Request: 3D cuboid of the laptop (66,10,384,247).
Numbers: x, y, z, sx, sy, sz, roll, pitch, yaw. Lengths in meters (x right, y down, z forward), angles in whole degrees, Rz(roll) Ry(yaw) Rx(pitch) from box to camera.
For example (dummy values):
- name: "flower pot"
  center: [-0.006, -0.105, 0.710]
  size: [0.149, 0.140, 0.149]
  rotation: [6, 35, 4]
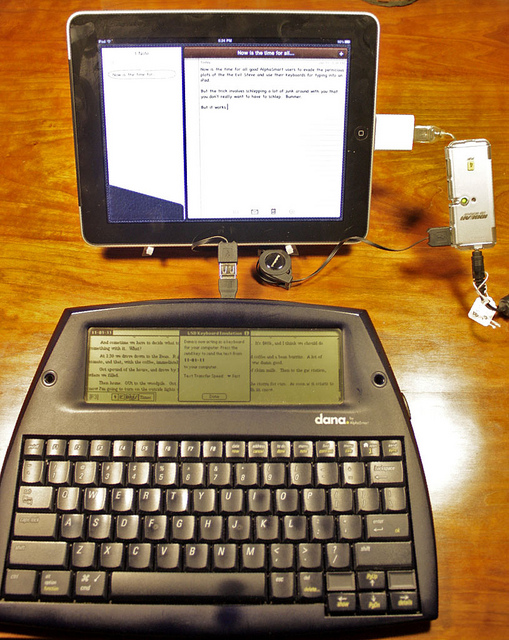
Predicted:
- name: "laptop"
  center: [-0.047, -0.268, 0.814]
  size: [0.354, 0.264, 0.029]
  rotation: [0, 17, -2]

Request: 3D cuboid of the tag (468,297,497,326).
- name: "tag"
  center: [0.334, -0.012, 0.873]
  size: [0.032, 0.014, 0.032]
  rotation: [27, 62, 13]
